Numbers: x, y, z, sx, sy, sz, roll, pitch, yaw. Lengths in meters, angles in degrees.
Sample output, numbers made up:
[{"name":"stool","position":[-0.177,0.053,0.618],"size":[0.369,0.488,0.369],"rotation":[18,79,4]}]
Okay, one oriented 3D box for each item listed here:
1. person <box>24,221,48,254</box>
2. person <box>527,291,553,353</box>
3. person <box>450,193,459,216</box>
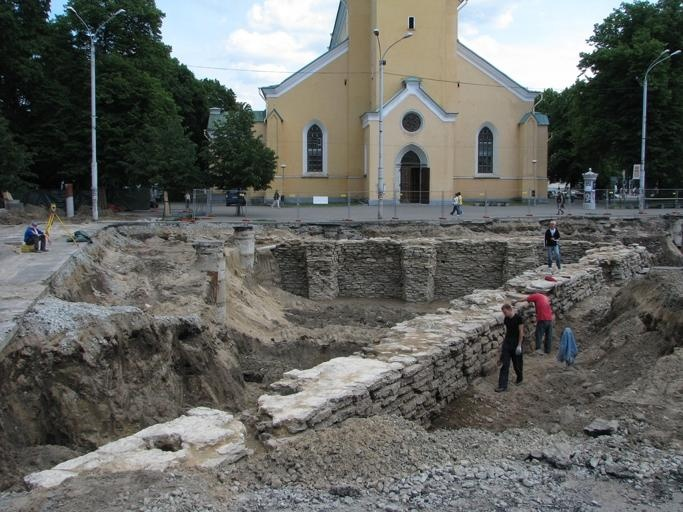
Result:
[{"name":"person","position":[-8.748,-0.578,17.386],"size":[0.606,0.734,0.910],"rotation":[8,8,-27]},{"name":"person","position":[5.228,1.733,15.857],"size":[0.851,1.288,0.465],"rotation":[14,8,19]},{"name":"person","position":[6.609,-2.961,34.513],"size":[0.510,0.910,1.802],"rotation":[13,7,10]}]
